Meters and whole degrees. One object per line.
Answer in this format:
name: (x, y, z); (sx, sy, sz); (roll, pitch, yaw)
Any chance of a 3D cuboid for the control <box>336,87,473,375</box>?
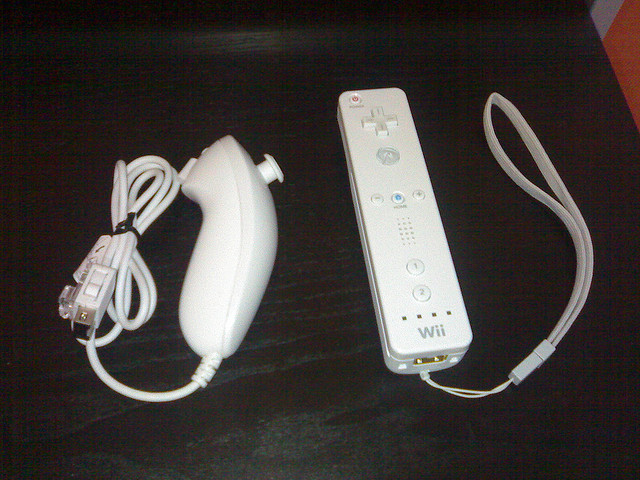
control: (0.099, -0.021, 0.893); (0.132, 0.106, 0.395); (-5, 63, -3)
